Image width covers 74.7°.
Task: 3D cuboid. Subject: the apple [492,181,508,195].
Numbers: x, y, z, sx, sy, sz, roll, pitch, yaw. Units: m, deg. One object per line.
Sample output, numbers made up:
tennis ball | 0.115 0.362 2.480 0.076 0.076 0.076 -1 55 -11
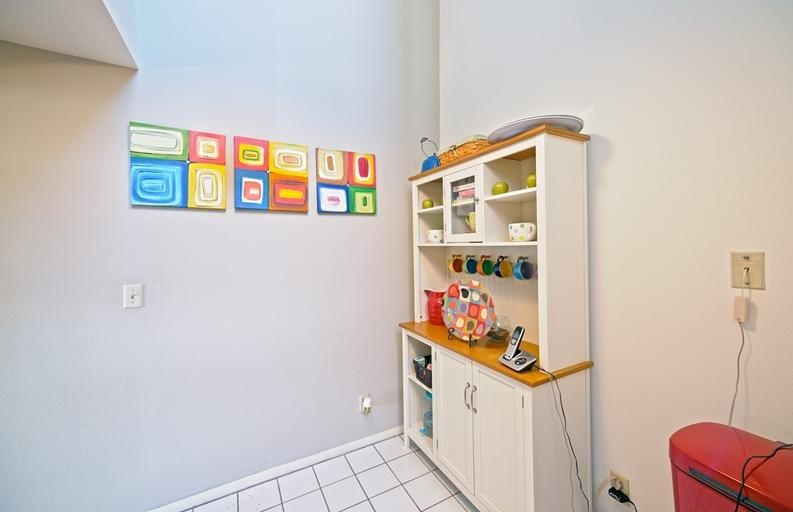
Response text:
apple | 0.672 -0.442 3.351 0.085 0.083 0.085 11 16 36

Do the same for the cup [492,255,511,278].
cup | 0.738 0.067 3.605 0.146 0.187 0.100 3 -8 -25

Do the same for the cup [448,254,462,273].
cup | 0.449 0.053 3.971 0.103 0.127 0.089 -2 -17 -4

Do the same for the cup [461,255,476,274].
cup | 0.540 0.047 3.814 0.122 0.113 0.093 2 -6 -10

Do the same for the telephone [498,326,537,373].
telephone | 0.757 0.553 3.231 0.172 0.237 0.237 -8 13 -16

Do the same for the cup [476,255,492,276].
cup | 0.632 0.059 3.721 0.135 0.185 0.065 4 6 26

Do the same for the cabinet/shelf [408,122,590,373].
cabinet/shelf | 0.708 -0.027 3.442 0.624 1.690 1.734 4 -6 -27

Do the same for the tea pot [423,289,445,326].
tea pot | 0.287 0.371 3.899 0.184 0.233 0.241 3 -6 -24

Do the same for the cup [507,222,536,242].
cup | 0.796 -0.156 3.281 0.110 0.080 0.140 0 3 -17

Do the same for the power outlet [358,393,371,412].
power outlet | -0.235 1.122 3.958 0.106 0.154 0.046 -4 6 -19

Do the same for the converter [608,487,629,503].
converter | 1.374 1.458 3.190 0.100 0.039 0.073 21 -12 1

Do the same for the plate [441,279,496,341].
plate | 0.484 0.350 3.504 0.386 0.394 0.068 4 0 43

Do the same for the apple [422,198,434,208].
apple | 0.233 -0.401 3.900 0.071 0.084 0.073 5 6 39

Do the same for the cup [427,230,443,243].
cup | 0.286 -0.148 3.813 0.087 0.073 0.103 -2 5 -38

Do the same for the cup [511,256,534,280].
cup | 0.846 0.071 3.489 0.117 0.148 0.147 1 6 -16

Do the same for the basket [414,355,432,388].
basket | 0.190 0.849 3.828 0.140 0.130 0.188 -1 3 -25
